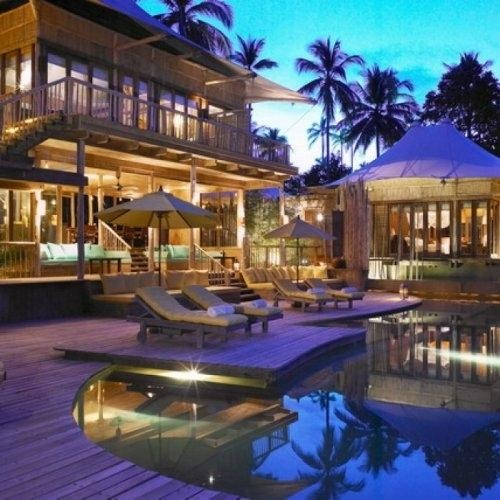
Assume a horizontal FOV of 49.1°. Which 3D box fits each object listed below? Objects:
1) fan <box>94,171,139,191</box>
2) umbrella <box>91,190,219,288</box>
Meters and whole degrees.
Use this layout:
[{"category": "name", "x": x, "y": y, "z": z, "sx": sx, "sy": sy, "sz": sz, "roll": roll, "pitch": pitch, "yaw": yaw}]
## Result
[{"category": "fan", "x": -4.724, "y": -2.424, "z": 19.118, "sx": 0.860, "sy": 0.334, "sz": 0.940, "roll": -1, "pitch": 2, "yaw": 14}, {"category": "umbrella", "x": -1.788, "y": -0.421, "z": 10.685, "sx": 1.934, "sy": 1.575, "sz": 2.070, "roll": 2, "pitch": 0, "yaw": 12}]
